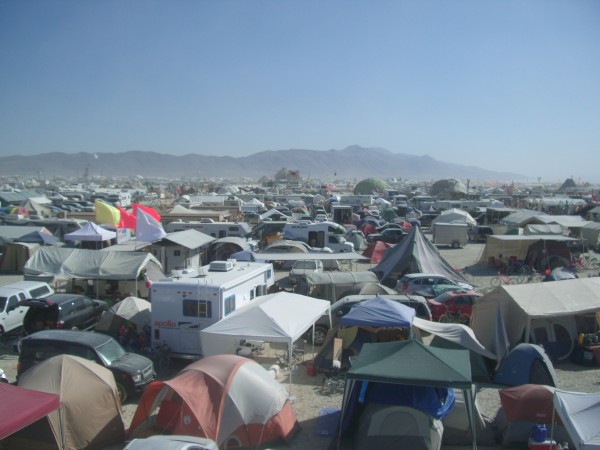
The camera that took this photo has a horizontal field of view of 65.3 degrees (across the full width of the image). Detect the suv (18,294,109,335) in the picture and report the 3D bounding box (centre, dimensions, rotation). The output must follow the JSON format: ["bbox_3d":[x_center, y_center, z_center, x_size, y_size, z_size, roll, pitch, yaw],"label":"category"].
[{"bbox_3d":[-7.307,2.726,14.857,1.821,1.210,2.175,3,6,17],"label":"suv"}]

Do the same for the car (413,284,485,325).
[{"bbox_3d":[5.207,2.763,16.318,2.048,0.743,1.091,-4,9,-7],"label":"car"}]

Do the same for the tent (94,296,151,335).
[{"bbox_3d":[-5.322,2.924,14.948,1.727,1.128,1.511,-1,6,8],"label":"tent"}]

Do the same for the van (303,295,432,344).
[{"bbox_3d":[2.440,2.925,15.081,4.128,2.013,1.919,1,12,-23],"label":"van"}]

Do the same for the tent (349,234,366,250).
[{"bbox_3d":[3.783,1.206,30.932,0.872,0.540,1.159,-26,37,-36],"label":"tent"}]

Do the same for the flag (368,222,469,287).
[{"bbox_3d":[4.945,1.704,20.691,5.639,2.462,5.158,-1,4,5],"label":"flag"}]

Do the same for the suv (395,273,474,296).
[{"bbox_3d":[5.190,2.271,18.335,2.555,0.797,1.090,-2,5,-3],"label":"suv"}]

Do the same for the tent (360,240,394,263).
[{"bbox_3d":[3.966,1.429,25.300,1.331,0.553,1.299,-11,16,-44],"label":"tent"}]

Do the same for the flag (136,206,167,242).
[{"bbox_3d":[-7.308,0.018,22.592,1.285,1.511,0.918,3,11,-12],"label":"flag"}]

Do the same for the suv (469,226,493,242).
[{"bbox_3d":[13.751,0.657,35.584,1.724,1.235,2.697,-1,10,7],"label":"suv"}]

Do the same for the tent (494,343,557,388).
[{"bbox_3d":[5.658,3.578,11.838,1.255,0.795,1.251,-3,-2,30],"label":"tent"}]

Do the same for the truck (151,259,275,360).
[{"bbox_3d":[-2.530,2.347,14.418,2.002,1.701,3.651,3,7,24],"label":"truck"}]

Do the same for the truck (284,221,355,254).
[{"bbox_3d":[1.072,0.783,28.305,4.844,1.662,4.733,3,7,20],"label":"truck"}]
